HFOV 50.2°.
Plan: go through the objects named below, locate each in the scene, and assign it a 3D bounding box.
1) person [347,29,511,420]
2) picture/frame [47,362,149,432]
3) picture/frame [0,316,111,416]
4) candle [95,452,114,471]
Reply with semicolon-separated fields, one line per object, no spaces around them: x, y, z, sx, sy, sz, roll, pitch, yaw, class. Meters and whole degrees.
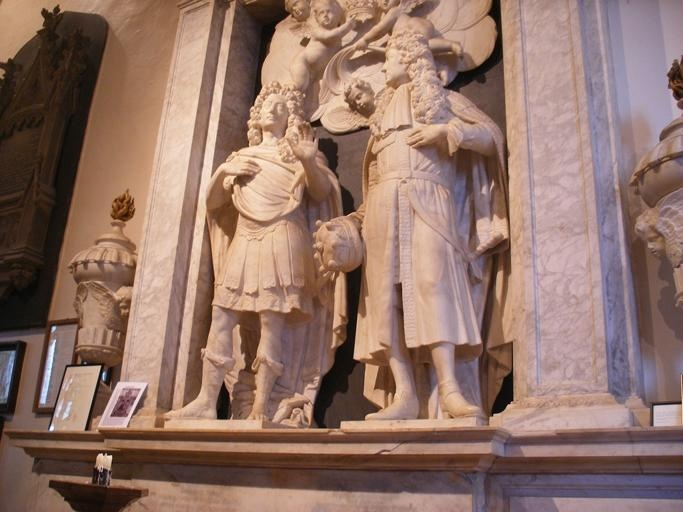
0.483;-0.297;4.270;0.960;2.539;0.608;-4;-21;13;person
-1.590;0.887;4.636;0.744;0.479;0.204;-11;-24;27;picture/frame
-2.144;0.851;5.490;0.668;0.845;0.064;-14;-26;24;picture/frame
-1.311;1.130;4.004;0.076;0.090;0.088;7;-22;-15;candle
